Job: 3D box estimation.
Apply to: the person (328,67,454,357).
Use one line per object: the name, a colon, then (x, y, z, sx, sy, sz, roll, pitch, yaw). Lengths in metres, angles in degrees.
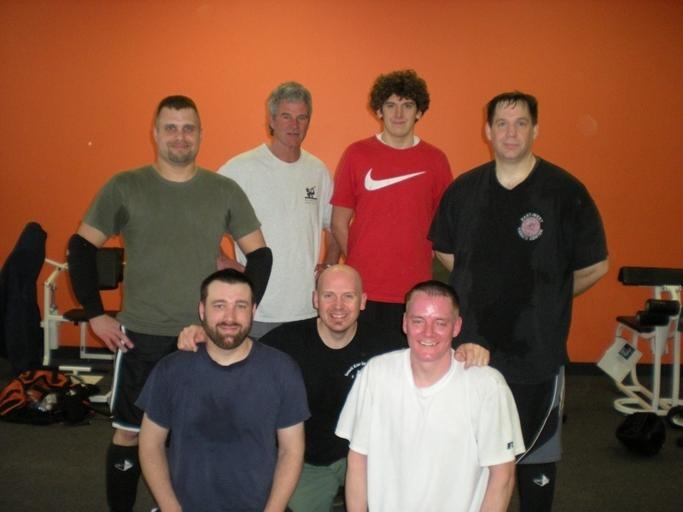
person: (0.320, 0.084, 4.769, 0.796, 2.633, 0.632, 1, 1, 15)
